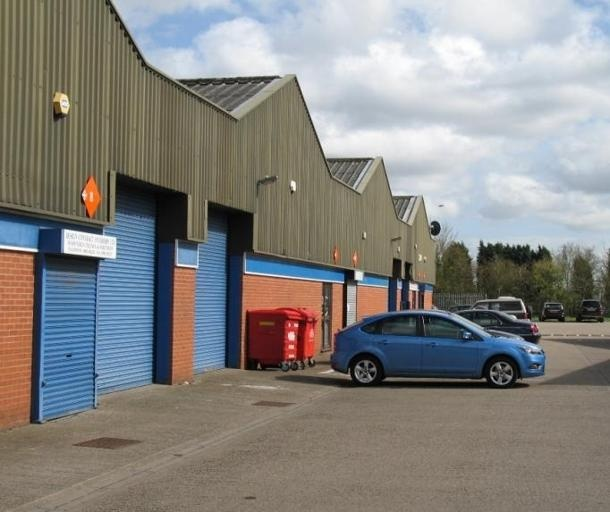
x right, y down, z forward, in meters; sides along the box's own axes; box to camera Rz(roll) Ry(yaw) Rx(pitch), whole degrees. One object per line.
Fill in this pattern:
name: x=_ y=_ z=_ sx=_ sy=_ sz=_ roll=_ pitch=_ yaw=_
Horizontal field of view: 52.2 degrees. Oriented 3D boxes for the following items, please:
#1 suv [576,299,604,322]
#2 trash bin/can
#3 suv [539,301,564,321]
suv: x=25.265 y=4.891 z=55.284 sx=1.887 sy=1.933 sz=2.901 roll=-1 pitch=-4 yaw=23
trash bin/can: x=-0.654 y=2.300 z=17.144 sx=1.931 sy=1.721 sz=1.082 roll=1 pitch=-3 yaw=-11
suv: x=23.152 y=5.248 z=58.453 sx=1.319 sy=1.293 sz=2.546 roll=0 pitch=-1 yaw=10
